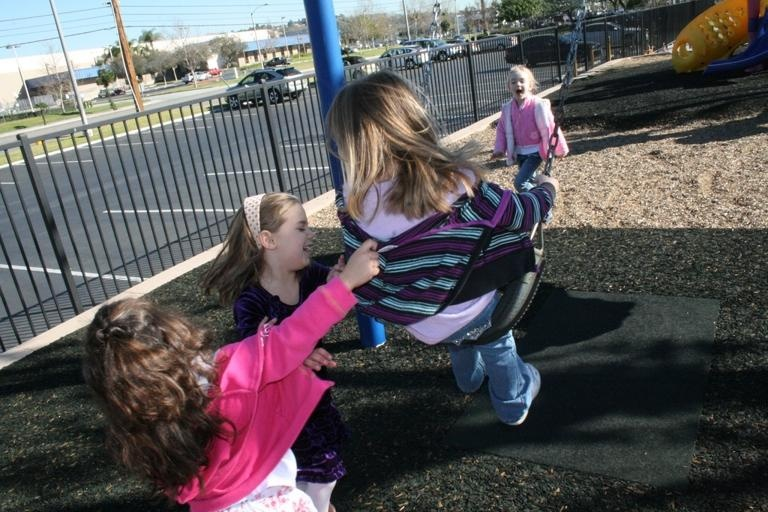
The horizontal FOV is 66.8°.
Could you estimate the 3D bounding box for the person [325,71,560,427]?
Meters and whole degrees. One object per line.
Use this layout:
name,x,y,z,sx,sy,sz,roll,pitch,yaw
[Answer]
person,0.389,0.111,3.656,1.183,2.525,0.458,-11,18,-5
